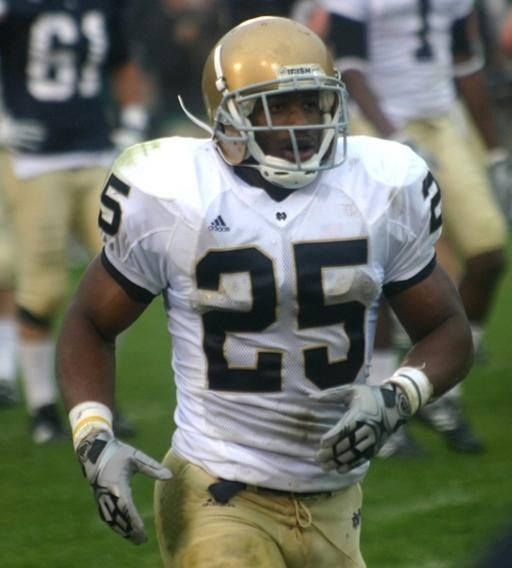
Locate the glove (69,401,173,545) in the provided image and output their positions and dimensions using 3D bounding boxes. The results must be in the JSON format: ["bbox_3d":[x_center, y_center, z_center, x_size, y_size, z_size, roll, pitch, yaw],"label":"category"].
[{"bbox_3d":[-0.281,0.366,1.880,0.186,0.112,0.281,-10,54,-34],"label":"glove"}]

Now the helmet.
[{"bbox_3d":[0.035,-0.376,1.908,0.295,0.360,0.291,-6,110,-22],"label":"helmet"}]

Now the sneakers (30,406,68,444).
[{"bbox_3d":[-0.869,0.589,3.889,0.108,0.181,0.180,-4,69,-27],"label":"sneakers"}]

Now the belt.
[{"bbox_3d":[0.011,0.408,1.874,0.162,0.068,0.023,6,89,-4],"label":"belt"}]

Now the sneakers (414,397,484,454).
[{"bbox_3d":[0.771,0.554,3.700,0.125,0.378,0.167,-38,111,-1],"label":"sneakers"}]

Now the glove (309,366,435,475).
[{"bbox_3d":[0.227,0.255,1.856,0.149,0.086,0.232,45,51,11],"label":"glove"}]
